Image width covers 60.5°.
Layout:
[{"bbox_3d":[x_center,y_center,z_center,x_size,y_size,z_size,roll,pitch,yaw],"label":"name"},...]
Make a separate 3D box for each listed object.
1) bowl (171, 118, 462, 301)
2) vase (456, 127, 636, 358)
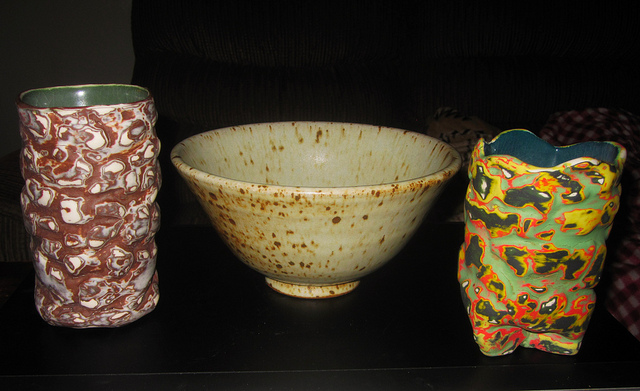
[{"bbox_3d":[-0.016,0.013,1.085,0.491,0.206,0.441,2,11,-9],"label":"bowl"},{"bbox_3d":[0.390,0.090,1.020,0.258,0.387,0.208,6,27,9],"label":"vase"}]
